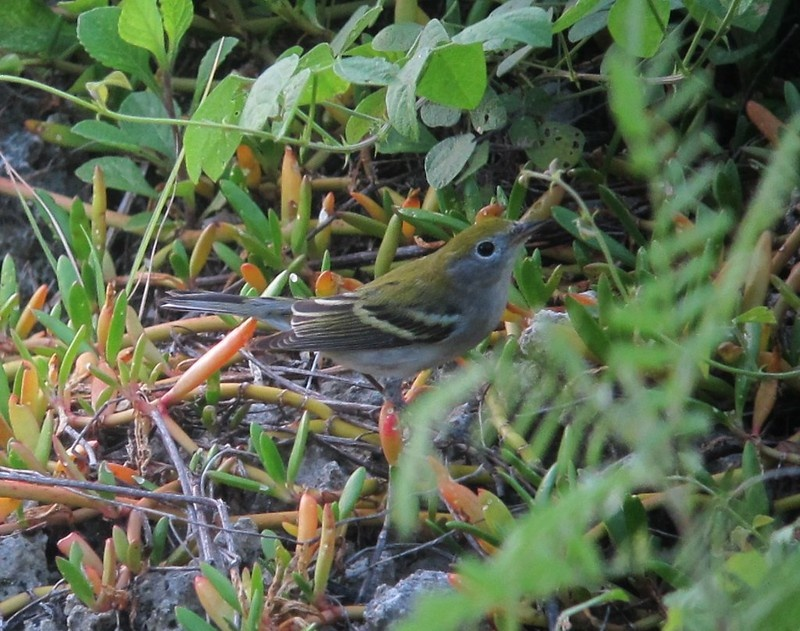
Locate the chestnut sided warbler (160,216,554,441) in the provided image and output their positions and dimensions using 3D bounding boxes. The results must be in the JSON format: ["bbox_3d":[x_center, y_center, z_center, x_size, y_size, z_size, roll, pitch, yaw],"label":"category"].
[{"bbox_3d":[-0.190,-0.005,3.919,1.446,0.949,0.472,1,26,-3],"label":"chestnut sided warbler"}]
